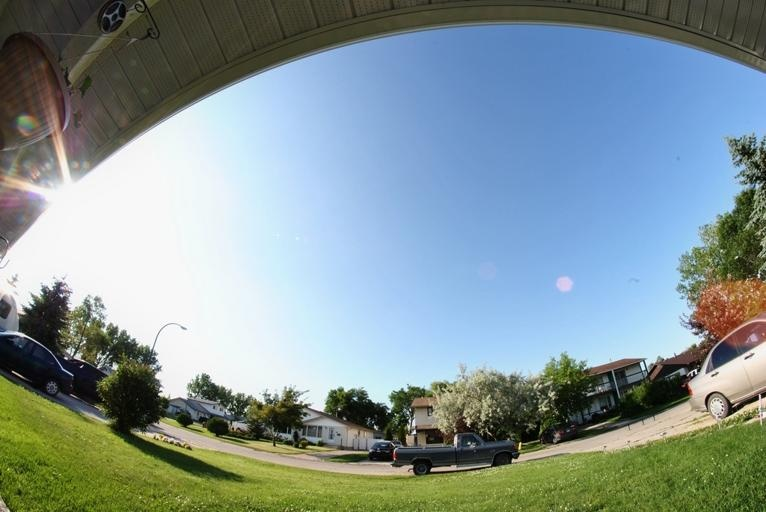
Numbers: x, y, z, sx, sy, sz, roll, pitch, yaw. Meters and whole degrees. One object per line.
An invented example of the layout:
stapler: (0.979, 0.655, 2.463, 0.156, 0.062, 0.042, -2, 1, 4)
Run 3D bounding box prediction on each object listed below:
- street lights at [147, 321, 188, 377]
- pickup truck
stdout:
street lights: (-5.512, 2.262, 9.737, 0.657, 0.831, 1.847, 21, -32, -29)
pickup truck: (2.759, 7.462, 14.415, 4.155, 1.292, 2.038, -7, -48, 5)
